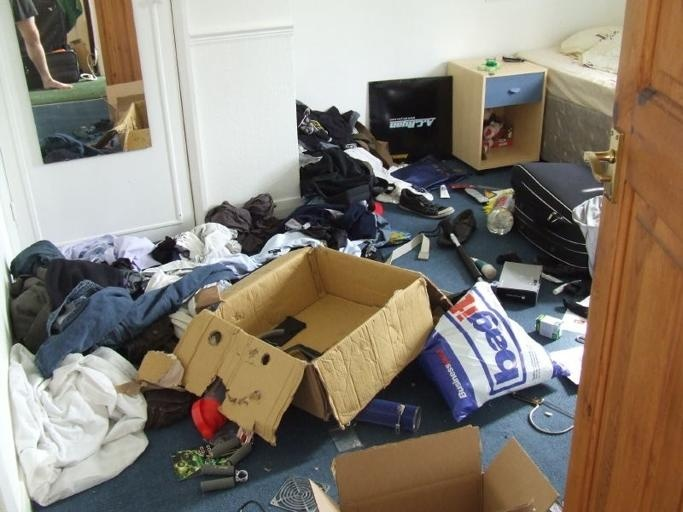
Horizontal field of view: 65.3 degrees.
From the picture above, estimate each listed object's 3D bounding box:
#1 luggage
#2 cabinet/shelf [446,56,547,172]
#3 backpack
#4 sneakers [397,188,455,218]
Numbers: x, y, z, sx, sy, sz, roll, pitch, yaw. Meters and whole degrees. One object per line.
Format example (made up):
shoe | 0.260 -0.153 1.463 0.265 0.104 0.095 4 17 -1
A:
luggage | 1.347 -0.247 3.277 0.484 0.350 0.697 -6 32 -18
cabinet/shelf | 1.244 -1.176 4.316 0.626 0.801 0.547 -11 25 -10
backpack | 0.044 -0.590 3.739 0.459 0.224 0.382 -18 39 -37
sneakers | 0.569 -0.364 3.761 0.453 0.185 0.159 16 47 21
